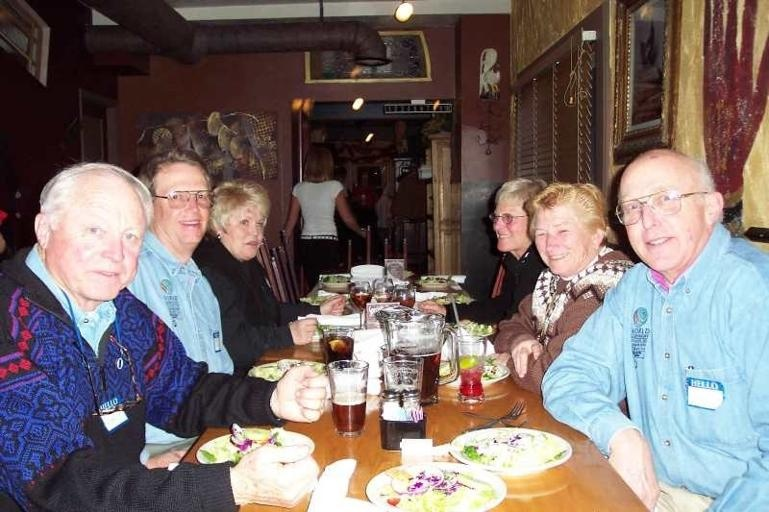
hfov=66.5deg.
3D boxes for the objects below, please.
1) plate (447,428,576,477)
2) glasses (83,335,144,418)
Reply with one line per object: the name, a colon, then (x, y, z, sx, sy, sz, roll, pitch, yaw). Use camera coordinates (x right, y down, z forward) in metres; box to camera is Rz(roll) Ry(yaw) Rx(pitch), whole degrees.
plate: (0.378, 0.562, 1.774, 0.329, 0.048, 0.337, 13, -44, -11)
glasses: (-0.869, 0.391, 1.884, 0.148, 0.244, 0.064, -11, -9, -36)
